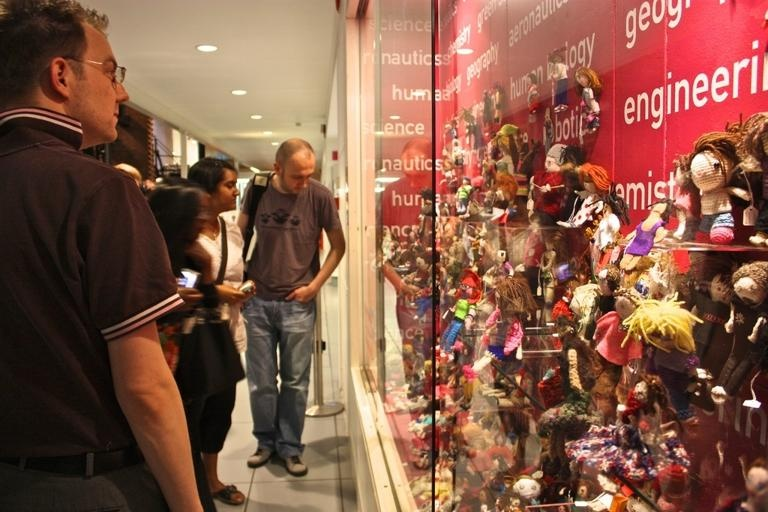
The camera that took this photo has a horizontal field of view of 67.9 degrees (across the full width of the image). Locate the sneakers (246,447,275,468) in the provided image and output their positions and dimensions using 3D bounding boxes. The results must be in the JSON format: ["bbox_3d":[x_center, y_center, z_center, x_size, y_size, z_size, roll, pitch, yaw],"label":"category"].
[{"bbox_3d":[-0.672,1.085,3.076,0.055,0.066,0.153,-1,-7,13],"label":"sneakers"}]

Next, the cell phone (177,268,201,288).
[{"bbox_3d":[-0.609,0.067,1.763,0.040,0.039,0.069,18,-18,-20],"label":"cell phone"}]

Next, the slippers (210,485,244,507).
[{"bbox_3d":[-0.735,1.127,2.708,0.138,0.046,0.071,2,8,32],"label":"slippers"}]

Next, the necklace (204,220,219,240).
[{"bbox_3d":[-0.677,-0.104,2.232,0.023,0.081,0.059,4,11,13],"label":"necklace"}]

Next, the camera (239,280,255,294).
[{"bbox_3d":[-0.593,0.133,2.474,0.046,0.052,0.083,-20,1,-11],"label":"camera"}]
